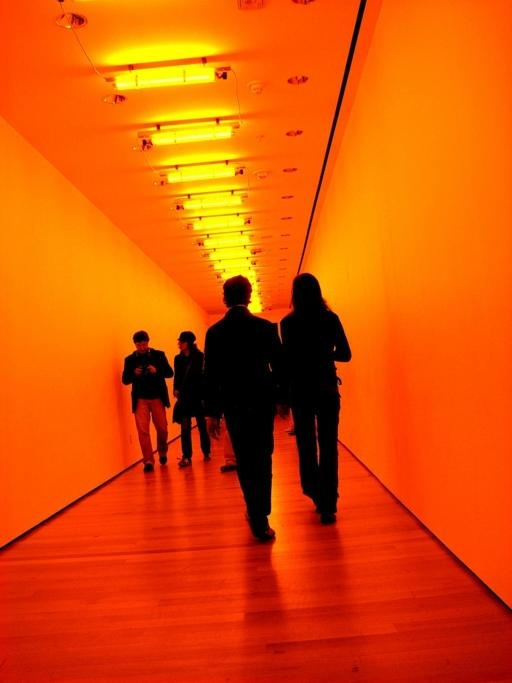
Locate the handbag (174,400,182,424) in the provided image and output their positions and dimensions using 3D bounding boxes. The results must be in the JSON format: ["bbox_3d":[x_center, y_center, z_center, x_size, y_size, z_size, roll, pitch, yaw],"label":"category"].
[{"bbox_3d":[-0.927,0.832,6.636,0.095,0.250,0.271,-5,-4,-7],"label":"handbag"}]

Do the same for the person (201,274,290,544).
[{"bbox_3d":[-0.058,0.388,3.494,0.449,1.570,0.362,-2,7,5],"label":"person"}]

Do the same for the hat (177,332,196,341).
[{"bbox_3d":[-0.861,-0.073,6.941,0.192,0.105,0.128,2,-6,28],"label":"hat"}]

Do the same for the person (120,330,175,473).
[{"bbox_3d":[-1.291,0.707,6.844,0.608,1.674,0.494,-4,-4,-17],"label":"person"}]

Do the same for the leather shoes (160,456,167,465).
[{"bbox_3d":[-1.139,1.472,6.988,0.101,0.113,0.097,2,7,-1],"label":"leather shoes"}]
